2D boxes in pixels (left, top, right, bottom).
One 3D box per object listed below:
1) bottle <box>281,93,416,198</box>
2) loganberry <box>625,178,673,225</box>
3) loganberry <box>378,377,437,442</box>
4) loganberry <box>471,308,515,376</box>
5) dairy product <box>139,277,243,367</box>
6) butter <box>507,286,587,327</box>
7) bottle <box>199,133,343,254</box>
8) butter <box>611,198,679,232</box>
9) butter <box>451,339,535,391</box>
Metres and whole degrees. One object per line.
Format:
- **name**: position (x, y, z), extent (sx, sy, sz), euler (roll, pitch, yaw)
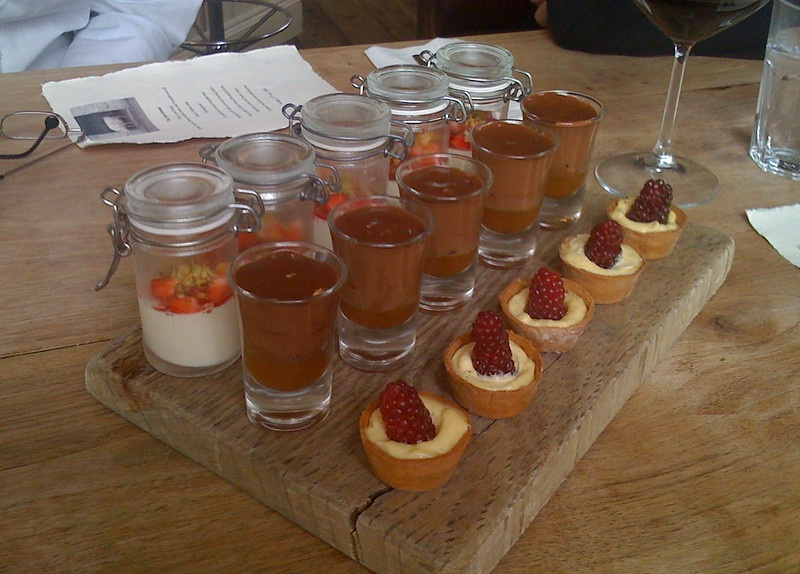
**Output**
- **bottle**: position (-0.066, -0.190, 0.934), extent (0.204, 0.155, 0.107), euler (-19, 52, -12)
- **loganberry**: position (0.410, -0.132, 1.019), extent (0.065, 0.072, 0.061), euler (-3, 27, -13)
- **loganberry**: position (0.000, 0.139, 0.687), extent (0.065, 0.061, 0.045), euler (1, -1, 3)
- **loganberry**: position (0.108, 0.065, 0.768), extent (0.059, 0.076, 0.037), euler (-7, 33, 6)
- **dairy product**: position (-0.264, 0.053, 0.831), extent (0.127, 0.063, 0.104), euler (-3, 10, -12)
- **butter**: position (0.205, 0.027, 0.857), extent (0.080, 0.016, 0.061), euler (-4, 26, -4)
- **bottle**: position (-0.160, -0.116, 0.794), extent (0.200, 0.134, 0.095), euler (9, 37, -2)
- **butter**: position (0.389, -0.107, 1.017), extent (0.082, 0.021, 0.081), euler (-21, 33, -31)
- **butter**: position (0.113, 0.091, 0.763), extent (0.084, 0.021, 0.058), euler (-6, 32, -7)
